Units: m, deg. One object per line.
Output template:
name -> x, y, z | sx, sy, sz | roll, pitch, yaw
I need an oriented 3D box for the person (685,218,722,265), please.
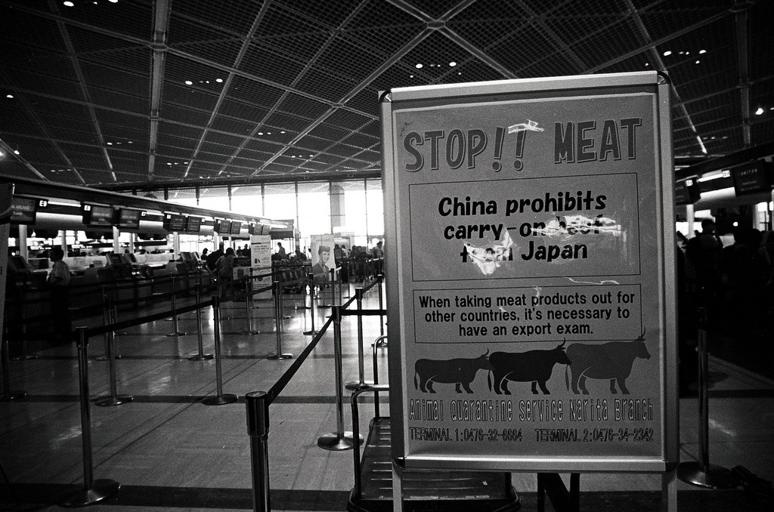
person -> 4.716, -0.228, 8.915 | 0.467, 0.673, 0.866 | 0, 0, 27

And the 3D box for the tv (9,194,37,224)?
tv -> -7.722, -1.001, 12.742 | 0.427, 0.556, 0.722 | 0, 0, -29

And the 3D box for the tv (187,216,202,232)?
tv -> -6.636, -1.112, 20.532 | 0.446, 0.538, 0.585 | 0, 1, 0

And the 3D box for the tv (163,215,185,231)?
tv -> -6.875, -1.083, 19.346 | 0.455, 0.556, 0.803 | -3, 6, -4

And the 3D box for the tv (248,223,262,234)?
tv -> -5.633, -1.172, 25.376 | 0.310, 0.533, 0.569 | -1, 2, 11

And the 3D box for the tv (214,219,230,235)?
tv -> -6.357, -1.135, 23.083 | 0.511, 0.628, 0.687 | -2, 3, 4
